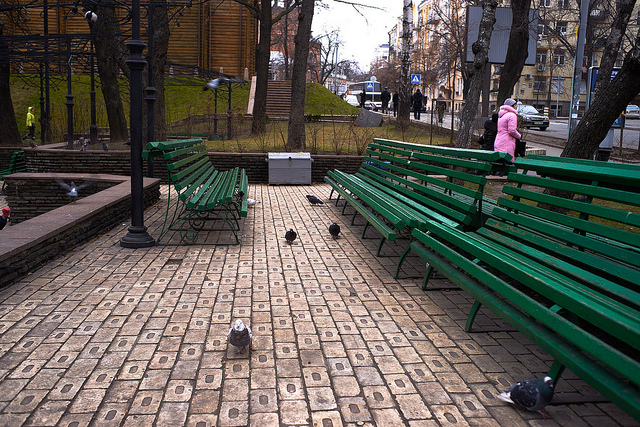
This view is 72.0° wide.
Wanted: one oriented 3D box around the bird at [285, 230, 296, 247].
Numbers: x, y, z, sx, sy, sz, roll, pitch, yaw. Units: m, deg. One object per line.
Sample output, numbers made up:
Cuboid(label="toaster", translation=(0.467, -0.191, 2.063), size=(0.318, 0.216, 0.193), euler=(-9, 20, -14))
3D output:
Cuboid(label="bird", translation=(-0.497, 0.405, 7.596), size=(0.157, 0.241, 0.251), euler=(-3, 13, -4))

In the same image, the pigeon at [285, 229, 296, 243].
Cuboid(label="pigeon", translation=(-0.496, 0.389, 7.639), size=(0.169, 0.229, 0.235), euler=(-3, 13, -3))

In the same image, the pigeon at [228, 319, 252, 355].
Cuboid(label="pigeon", translation=(-0.765, 1.178, 4.243), size=(0.220, 0.356, 0.194), euler=(-3, 21, -16))

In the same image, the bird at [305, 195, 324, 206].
Cuboid(label="bird", translation=(-0.133, -0.323, 10.558), size=(0.368, 0.220, 0.176), euler=(-9, -3, 6))

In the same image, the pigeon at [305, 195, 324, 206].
Cuboid(label="pigeon", translation=(-0.108, -0.327, 10.669), size=(0.278, 0.299, 0.515), euler=(2, 14, 16))

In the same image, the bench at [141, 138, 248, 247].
Cuboid(label="bench", translation=(-2.625, -0.398, 9.080), size=(1.127, 1.122, 2.846), euler=(0, 12, -5))

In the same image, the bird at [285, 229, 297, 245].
Cuboid(label="bird", translation=(-0.491, 0.410, 7.641), size=(0.174, 0.183, 0.232), euler=(0, 1, -4))

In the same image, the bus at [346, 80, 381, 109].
Cuboid(label="bus", translation=(5.919, -16.916, 62.917), size=(3.380, 3.868, 9.280), euler=(-8, 18, -15))

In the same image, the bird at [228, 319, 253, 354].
Cuboid(label="bird", translation=(-0.740, 1.173, 4.220), size=(0.193, 0.295, 0.165), euler=(-4, 7, 16))

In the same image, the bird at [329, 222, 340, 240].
Cuboid(label="bird", translation=(0.275, 0.307, 7.987), size=(0.185, 0.245, 0.278), euler=(-2, 13, 2))

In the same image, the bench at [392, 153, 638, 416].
Cuboid(label="bench", translation=(1.905, 0.721, 4.384), size=(1.149, 1.153, 2.359), euler=(-3, 10, -10))

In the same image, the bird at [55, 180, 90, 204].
Cuboid(label="bird", translation=(-5.386, -0.495, 9.601), size=(0.610, 0.419, 0.491), euler=(2, -4, -21))
